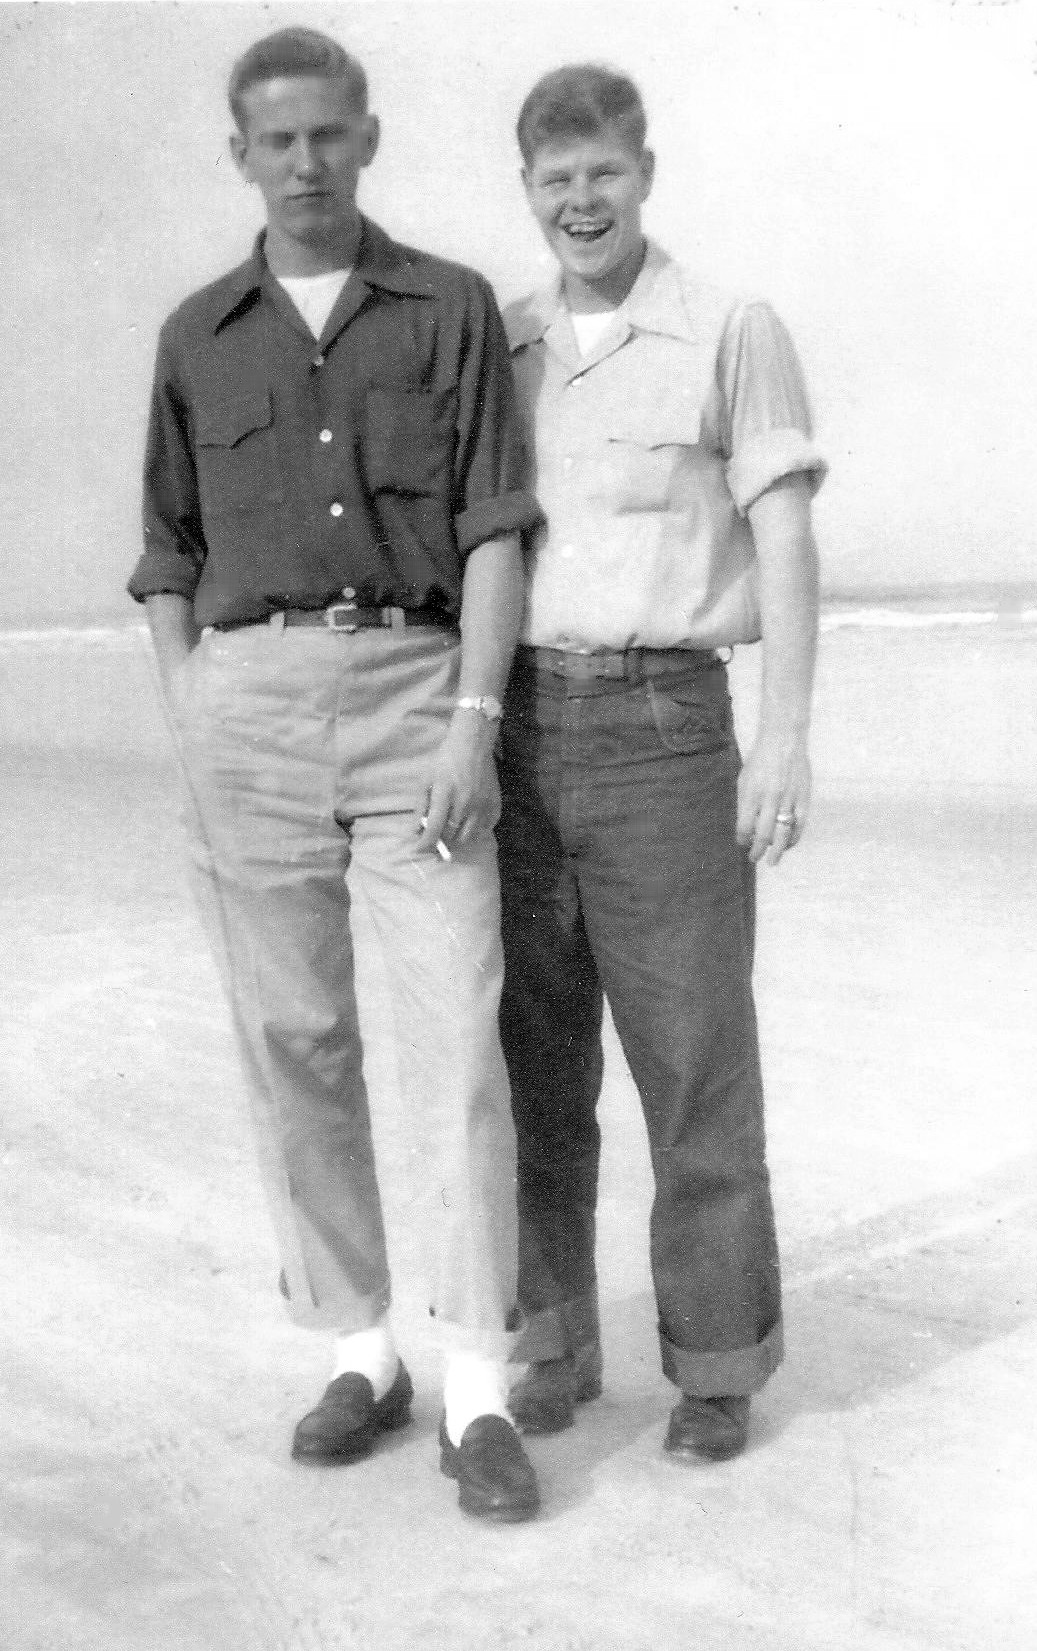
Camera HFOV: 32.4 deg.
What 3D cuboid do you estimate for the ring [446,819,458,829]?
[{"bbox_3d":[-0.063,-0.001,1.653,0.010,0.008,0.002,-1,-6,0],"label":"ring"}]

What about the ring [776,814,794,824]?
[{"bbox_3d":[0.248,-0.004,1.677,0.011,0.009,0.002,-2,-8,-5],"label":"ring"}]

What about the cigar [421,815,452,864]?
[{"bbox_3d":[-0.077,0.014,1.680,0.013,0.040,0.030,-30,17,4],"label":"cigar"}]

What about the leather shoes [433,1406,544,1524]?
[{"bbox_3d":[-0.029,0.591,1.667,0.083,0.063,0.163,-4,6,-21],"label":"leather shoes"}]

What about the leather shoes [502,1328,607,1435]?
[{"bbox_3d":[0.034,0.589,1.844,0.042,0.080,0.123,-7,-11,20],"label":"leather shoes"}]

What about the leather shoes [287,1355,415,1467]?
[{"bbox_3d":[-0.163,0.583,1.735,0.055,0.054,0.142,-3,-7,21],"label":"leather shoes"}]

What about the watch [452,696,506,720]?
[{"bbox_3d":[-0.037,-0.110,1.651,0.027,0.016,0.028,5,-4,-44],"label":"watch"}]
